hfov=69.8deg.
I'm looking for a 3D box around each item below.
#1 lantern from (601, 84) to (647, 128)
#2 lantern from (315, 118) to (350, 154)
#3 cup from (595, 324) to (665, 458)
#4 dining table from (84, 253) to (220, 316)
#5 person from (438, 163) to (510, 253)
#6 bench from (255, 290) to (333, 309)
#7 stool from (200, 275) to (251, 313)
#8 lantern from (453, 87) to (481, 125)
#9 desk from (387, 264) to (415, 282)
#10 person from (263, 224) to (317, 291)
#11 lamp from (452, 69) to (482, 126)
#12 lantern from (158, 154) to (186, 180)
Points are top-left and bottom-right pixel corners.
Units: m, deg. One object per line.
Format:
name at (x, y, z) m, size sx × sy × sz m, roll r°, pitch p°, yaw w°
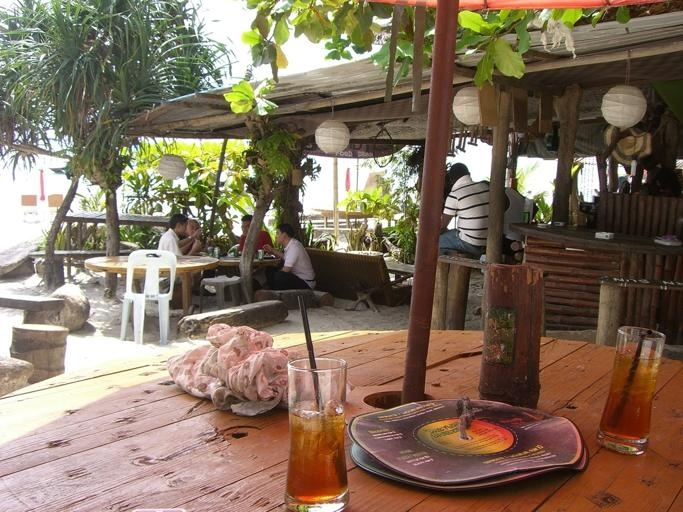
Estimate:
lantern at (3.070, -1.584, 5.328) m, size 0.524 × 0.472 × 0.451 m, roll -1°, pitch 3°, yaw 3°
lantern at (-0.140, -1.691, 7.075) m, size 0.576 × 0.549 × 0.530 m, roll 0°, pitch 4°, yaw -2°
cup at (0.784, 0.354, 1.330) m, size 0.125 × 0.312 × 0.192 m, roll 6°, pitch 10°, yaw 33°
dining table at (-2.580, 0.166, 7.042) m, size 1.440 × 0.554 × 1.319 m, roll 2°, pitch 6°, yaw -9°
person at (1.676, -0.569, 6.720) m, size 0.612 × 1.093 × 0.588 m, roll 2°, pitch 8°, yaw 10°
bench at (-0.760, 0.668, 7.999) m, size 1.462 × 0.335 × 0.646 m, roll 1°, pitch -3°, yaw -14°
stool at (-1.958, 0.632, 7.908) m, size 0.659 × 0.457 × 0.610 m, roll -2°, pitch 8°, yaw 3°
lantern at (1.357, -1.691, 5.346) m, size 0.276 × 0.429 × 0.466 m, roll 2°, pitch 8°, yaw 11°
desk at (0.981, 0.294, 8.445) m, size 0.458 × 0.320 × 1.114 m, roll 1°, pitch 7°, yaw 6°
person at (-0.903, 0.011, 8.402) m, size 0.657 × 1.154 × 0.959 m, roll -5°, pitch 9°, yaw -33°
lamp at (1.364, -1.725, 5.384) m, size 0.492 × 0.476 × 0.184 m, roll 0°, pitch -6°, yaw -1°
lantern at (-3.074, -1.626, 8.884) m, size 0.478 × 0.424 × 0.471 m, roll 9°, pitch 14°, yaw 26°
